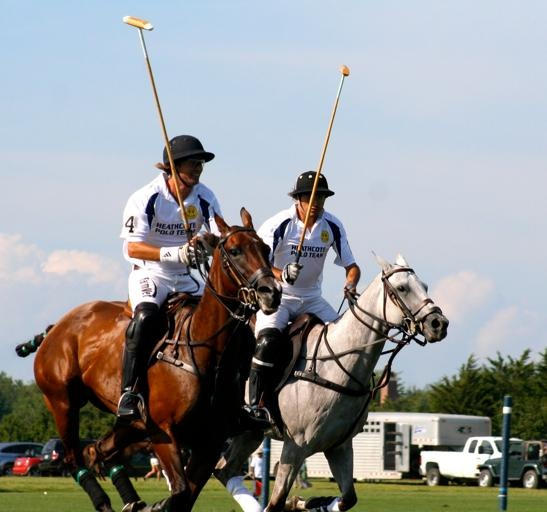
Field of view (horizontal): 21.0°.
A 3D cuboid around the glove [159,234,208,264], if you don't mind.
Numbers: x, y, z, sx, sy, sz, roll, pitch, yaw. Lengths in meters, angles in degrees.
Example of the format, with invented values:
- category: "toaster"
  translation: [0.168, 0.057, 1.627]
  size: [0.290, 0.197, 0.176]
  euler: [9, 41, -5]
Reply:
- category: "glove"
  translation: [-1.248, -0.070, 21.325]
  size: [0.785, 0.452, 0.276]
  euler: [-2, -8, 41]

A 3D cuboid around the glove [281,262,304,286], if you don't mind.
- category: "glove"
  translation: [0.307, 0.260, 21.793]
  size: [0.289, 0.313, 0.278]
  euler: [3, -6, 0]

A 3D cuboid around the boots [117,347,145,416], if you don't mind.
- category: "boots"
  translation: [-2.062, 1.887, 21.422]
  size: [0.426, 0.902, 0.310]
  euler: [-10, -5, 15]
